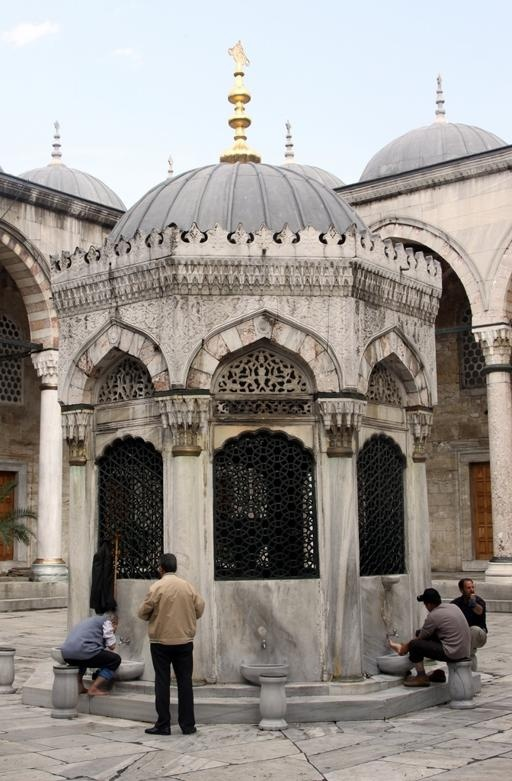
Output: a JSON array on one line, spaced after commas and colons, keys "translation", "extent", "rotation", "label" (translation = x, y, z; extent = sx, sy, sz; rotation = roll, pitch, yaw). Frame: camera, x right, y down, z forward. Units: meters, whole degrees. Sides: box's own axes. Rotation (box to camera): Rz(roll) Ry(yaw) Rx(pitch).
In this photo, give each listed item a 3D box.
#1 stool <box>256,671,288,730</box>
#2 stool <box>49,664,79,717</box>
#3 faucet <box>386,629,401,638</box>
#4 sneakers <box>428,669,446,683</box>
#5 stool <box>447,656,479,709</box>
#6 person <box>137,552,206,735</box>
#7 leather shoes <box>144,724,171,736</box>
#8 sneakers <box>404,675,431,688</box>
[{"translation": [0.108, 1.746, 6.107], "extent": [0.238, 0.357, 0.241], "rotation": [-2, -5, 8], "label": "stool"}, {"translation": [-1.162, 1.820, 6.556], "extent": [0.155, 0.305, 0.162], "rotation": [1, -12, -11], "label": "stool"}, {"translation": [0.931, 1.654, 7.374], "extent": [0.084, 0.067, 0.033], "rotation": [8, 4, -34], "label": "faucet"}, {"translation": [1.184, 1.857, 7.076], "extent": [0.067, 0.061, 0.134], "rotation": [-1, -5, 7], "label": "sneakers"}, {"translation": [1.292, 1.849, 6.845], "extent": [0.156, 0.283, 0.257], "rotation": [-3, -12, 9], "label": "stool"}, {"translation": [-0.480, 1.406, 6.065], "extent": [0.307, 0.979, 0.238], "rotation": [-6, -12, 25], "label": "person"}, {"translation": [-0.535, 1.855, 5.909], "extent": [0.152, 0.069, 0.055], "rotation": [4, -16, 14], "label": "leather shoes"}, {"translation": [1.027, 1.829, 6.857], "extent": [0.131, 0.059, 0.079], "rotation": [4, -10, -1], "label": "sneakers"}]
